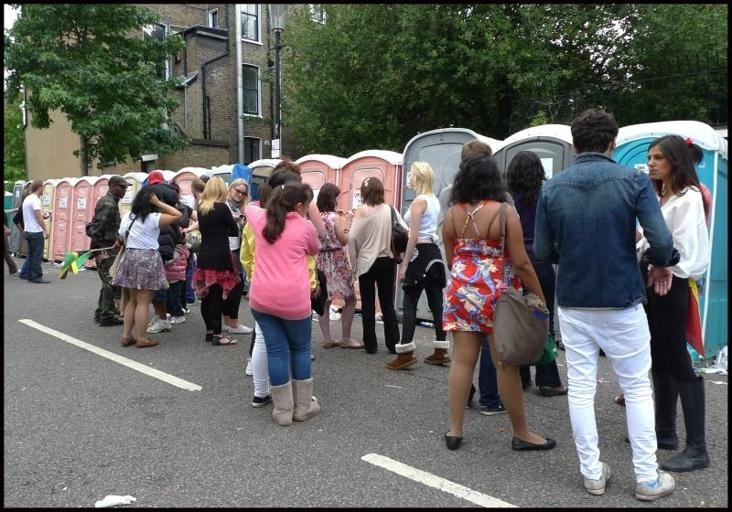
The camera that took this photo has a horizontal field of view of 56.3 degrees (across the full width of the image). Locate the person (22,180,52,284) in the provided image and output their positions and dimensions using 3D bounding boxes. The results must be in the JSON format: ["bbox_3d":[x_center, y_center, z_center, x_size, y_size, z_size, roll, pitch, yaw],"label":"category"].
[{"bbox_3d":[-7.045,-0.510,14.459,0.548,2.106,0.932,-6,6,-33],"label":"person"}]

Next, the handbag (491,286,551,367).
[{"bbox_3d":[1.379,0.627,6.168,0.443,0.737,0.608,9,12,31],"label":"handbag"}]

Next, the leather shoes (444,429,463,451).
[{"bbox_3d":[0.826,1.725,6.411,0.178,0.152,0.151,-3,5,-4],"label":"leather shoes"}]

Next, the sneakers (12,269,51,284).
[{"bbox_3d":[-7.198,0.448,14.643,0.684,0.291,0.219,6,8,15],"label":"sneakers"}]

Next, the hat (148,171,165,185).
[{"bbox_3d":[-3.085,-1.134,10.039,0.311,0.200,0.477,-4,11,-19],"label":"hat"}]

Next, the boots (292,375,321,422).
[{"bbox_3d":[-0.622,1.461,7.074,0.206,0.437,0.473,-1,3,14],"label":"boots"}]

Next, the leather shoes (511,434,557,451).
[{"bbox_3d":[1.541,1.710,6.359,0.404,0.159,0.147,-4,1,-2],"label":"leather shoes"}]

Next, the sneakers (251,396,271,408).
[{"bbox_3d":[-1.108,1.537,7.214,0.085,0.098,0.231,1,-1,21],"label":"sneakers"}]

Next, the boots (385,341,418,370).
[{"bbox_3d":[0.437,1.201,8.060,0.467,0.330,0.199,-2,6,32],"label":"boots"}]

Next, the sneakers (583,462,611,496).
[{"bbox_3d":[1.971,1.913,5.844,0.128,0.150,0.358,-4,4,21],"label":"sneakers"}]

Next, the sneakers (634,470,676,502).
[{"bbox_3d":[2.418,1.907,5.768,0.397,0.192,0.160,-12,10,-33],"label":"sneakers"}]

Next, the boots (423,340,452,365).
[{"bbox_3d":[0.873,1.184,8.307,0.174,0.300,0.424,-3,6,-36],"label":"boots"}]

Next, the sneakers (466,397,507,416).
[{"bbox_3d":[1.254,1.569,7.085,0.447,0.194,0.160,-1,0,-14],"label":"sneakers"}]

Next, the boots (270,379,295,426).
[{"bbox_3d":[-0.861,1.476,6.977,0.210,0.428,0.438,-9,5,-12],"label":"boots"}]
